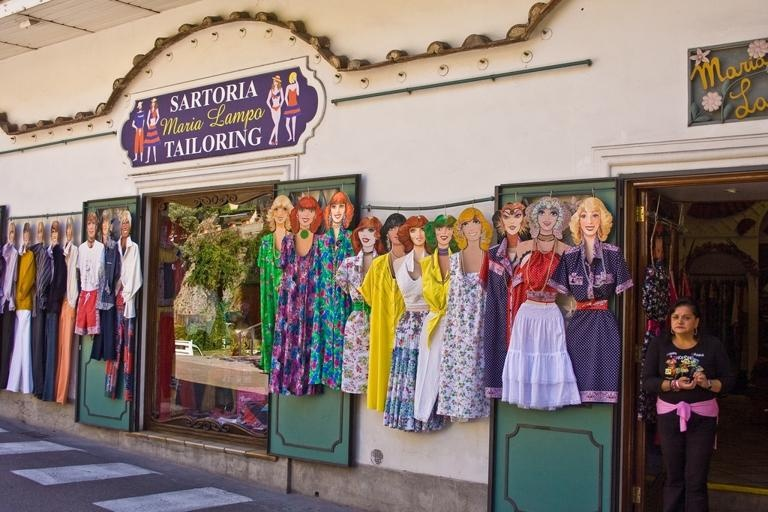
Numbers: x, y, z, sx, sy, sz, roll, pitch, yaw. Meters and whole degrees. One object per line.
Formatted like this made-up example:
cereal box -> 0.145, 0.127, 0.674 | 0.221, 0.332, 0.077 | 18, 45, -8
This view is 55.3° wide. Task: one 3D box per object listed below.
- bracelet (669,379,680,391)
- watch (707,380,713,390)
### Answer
bracelet -> 2.761, 1.243, 6.959 | 0.075, 0.077, 0.099 | -4, -8, 33
watch -> 3.073, 1.227, 6.908 | 0.031, 0.082, 0.057 | 0, 4, 28
